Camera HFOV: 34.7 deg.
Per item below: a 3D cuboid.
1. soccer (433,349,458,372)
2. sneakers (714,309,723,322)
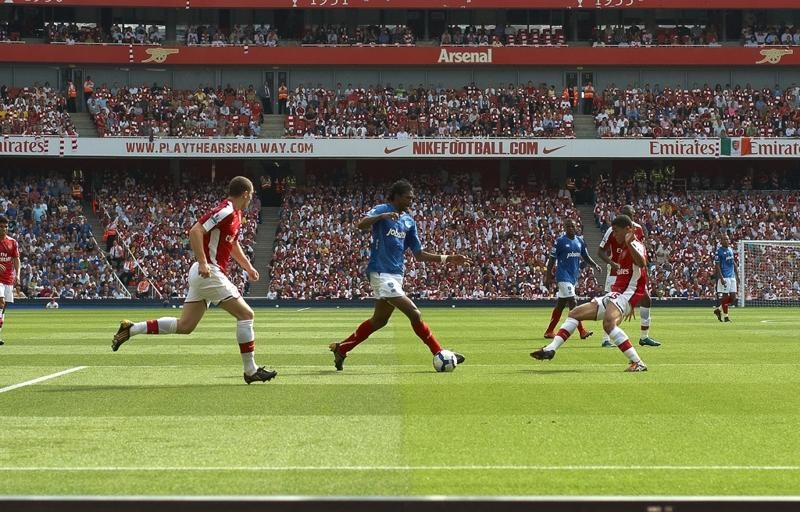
[{"bbox_3d":[1.366,3.207,38.720,0.644,0.630,0.640,7,8,0],"label":"soccer"},{"bbox_3d":[12.371,2.301,49.686,0.201,0.407,0.141,-18,27,18],"label":"sneakers"}]
